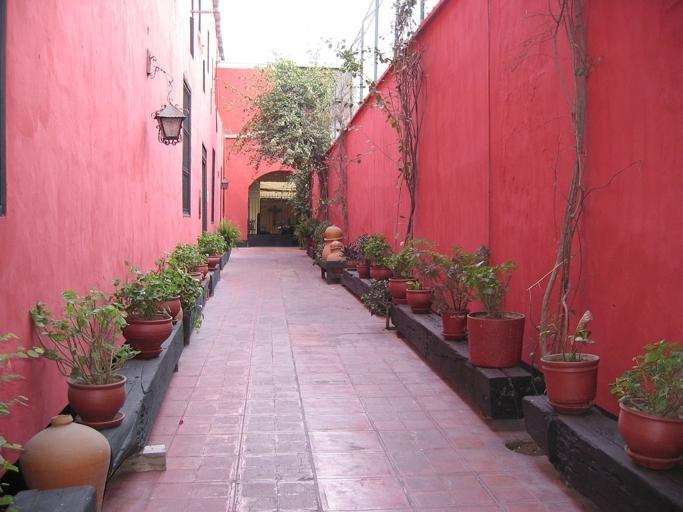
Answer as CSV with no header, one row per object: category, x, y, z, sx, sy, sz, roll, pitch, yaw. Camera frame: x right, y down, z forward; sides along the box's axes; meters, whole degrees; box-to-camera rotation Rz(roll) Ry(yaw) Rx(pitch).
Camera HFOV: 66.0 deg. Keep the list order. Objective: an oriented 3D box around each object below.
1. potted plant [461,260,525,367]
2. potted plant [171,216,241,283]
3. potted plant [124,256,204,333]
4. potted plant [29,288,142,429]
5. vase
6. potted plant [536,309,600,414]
potted plant,1.155,0.394,3.924,0.405,0.760,0.611,3,6,20
potted plant,-2.297,-0.096,8.570,0.917,0.990,2.415,1,1,-3
potted plant,-1.424,0.280,4.112,0.672,0.510,0.709,1,3,-9
potted plant,-1.335,0.522,2.974,0.608,0.859,0.622,0,1,3
vase,-1.191,0.938,2.268,0.345,0.433,0.314,-2,6,-19
potted plant,1.350,0.572,3.025,0.457,0.564,0.288,-4,7,-35
